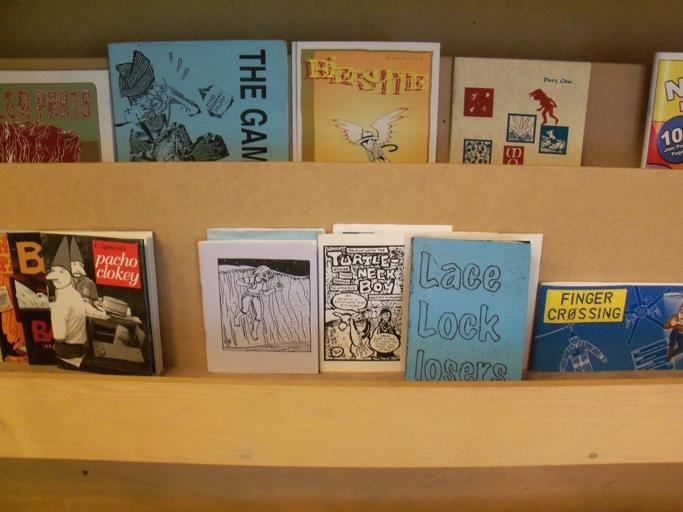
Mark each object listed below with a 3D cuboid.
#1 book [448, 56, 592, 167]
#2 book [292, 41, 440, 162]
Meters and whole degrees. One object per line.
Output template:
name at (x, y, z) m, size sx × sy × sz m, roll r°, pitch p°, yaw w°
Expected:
book at (0.388, -0.313, 1.428) m, size 0.344 × 0.225 × 0.038 m, roll -4°, pitch 11°, yaw -22°
book at (0.054, -0.353, 1.408) m, size 0.312 × 0.258 × 0.030 m, roll 1°, pitch 8°, yaw 0°
